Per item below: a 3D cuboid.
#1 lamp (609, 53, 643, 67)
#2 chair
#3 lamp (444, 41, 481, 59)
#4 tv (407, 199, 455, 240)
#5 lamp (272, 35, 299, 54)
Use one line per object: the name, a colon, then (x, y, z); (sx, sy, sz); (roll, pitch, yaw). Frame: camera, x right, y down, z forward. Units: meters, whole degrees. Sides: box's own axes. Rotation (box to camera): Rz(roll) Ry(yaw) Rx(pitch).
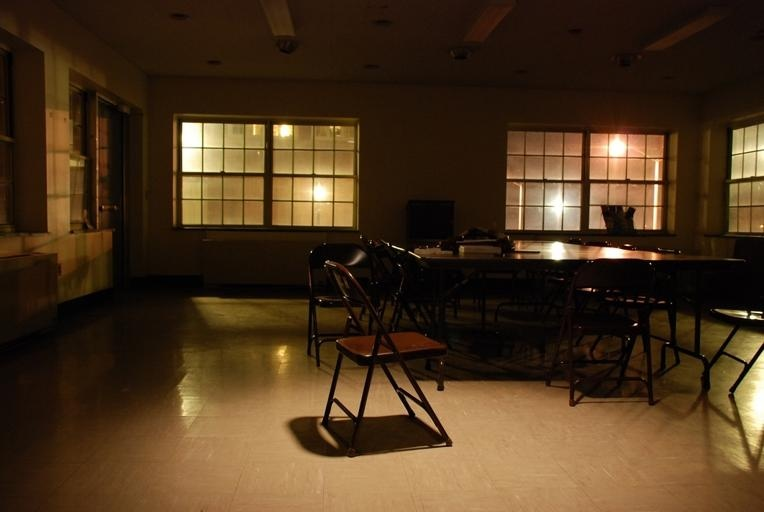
lamp: (3.505, -2.784, 8.064); (0.242, 0.110, 0.222); (1, 14, 8)
chair: (1.055, 0.547, 5.473); (3.677, 1.392, 2.583); (0, 6, -19)
lamp: (1.162, -2.857, 8.007); (0.429, 0.175, 0.621); (2, 6, 2)
tv: (0.803, -0.591, 9.468); (0.837, 0.685, 0.109); (0, 5, -4)
lamp: (-1.339, -2.919, 7.815); (0.334, 0.149, 0.412); (1, 6, -11)
